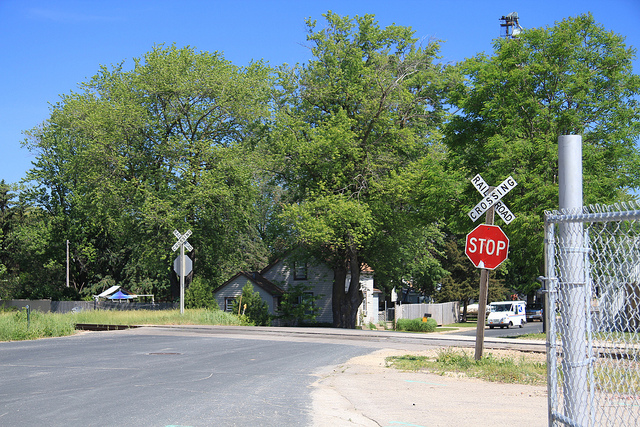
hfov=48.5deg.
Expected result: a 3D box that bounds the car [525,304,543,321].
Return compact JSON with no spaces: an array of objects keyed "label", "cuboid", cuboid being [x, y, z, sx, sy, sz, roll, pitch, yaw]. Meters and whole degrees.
[{"label":"car","cuboid":[20.574,9.483,68.370,1.628,1.380,2.907,-2,-11,20]}]

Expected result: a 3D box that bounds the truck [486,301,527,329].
[{"label":"truck","cuboid":[15.141,8.195,58.103,1.921,1.527,3.261,-6,-13,32]}]
